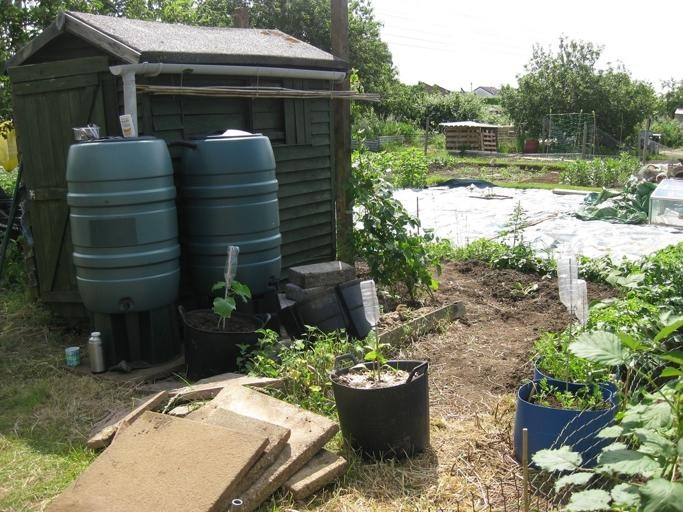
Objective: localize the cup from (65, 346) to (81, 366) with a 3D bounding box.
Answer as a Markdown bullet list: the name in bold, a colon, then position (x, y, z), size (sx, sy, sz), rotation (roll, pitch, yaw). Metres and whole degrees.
- **cup**: position (-2.152, 0.794, 4.853), size (0.134, 0.147, 0.135), rotation (3, 7, 0)

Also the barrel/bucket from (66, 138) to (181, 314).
- **barrel/bucket**: position (-1.663, -0.232, 4.641), size (0.785, 1.340, 0.344), rotation (-6, 11, -23)

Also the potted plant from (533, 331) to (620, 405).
- **potted plant**: position (1.325, 0.642, 3.386), size (0.409, 0.201, 0.459), rotation (3, 6, 22)

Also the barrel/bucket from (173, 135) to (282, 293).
- **barrel/bucket**: position (-0.991, -0.425, 5.359), size (0.859, 1.366, 0.862), rotation (-1, 11, 0)

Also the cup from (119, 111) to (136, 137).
- **cup**: position (-1.675, -1.027, 4.730), size (0.108, 0.190, 0.292), rotation (-5, 11, -17)

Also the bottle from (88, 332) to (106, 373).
- **bottle**: position (-1.906, 0.749, 4.707), size (0.161, 0.304, 0.164), rotation (-1, 6, 0)

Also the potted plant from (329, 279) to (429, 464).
- **potted plant**: position (0.192, 0.659, 3.710), size (0.691, 0.999, 0.569), rotation (4, 12, 27)

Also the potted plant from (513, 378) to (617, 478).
- **potted plant**: position (1.214, 0.865, 3.408), size (0.474, 0.490, 0.484), rotation (-7, 8, -42)

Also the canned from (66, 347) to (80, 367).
- **canned**: position (-2.147, 0.799, 4.857), size (0.133, 0.146, 0.134), rotation (2, 7, -10)
